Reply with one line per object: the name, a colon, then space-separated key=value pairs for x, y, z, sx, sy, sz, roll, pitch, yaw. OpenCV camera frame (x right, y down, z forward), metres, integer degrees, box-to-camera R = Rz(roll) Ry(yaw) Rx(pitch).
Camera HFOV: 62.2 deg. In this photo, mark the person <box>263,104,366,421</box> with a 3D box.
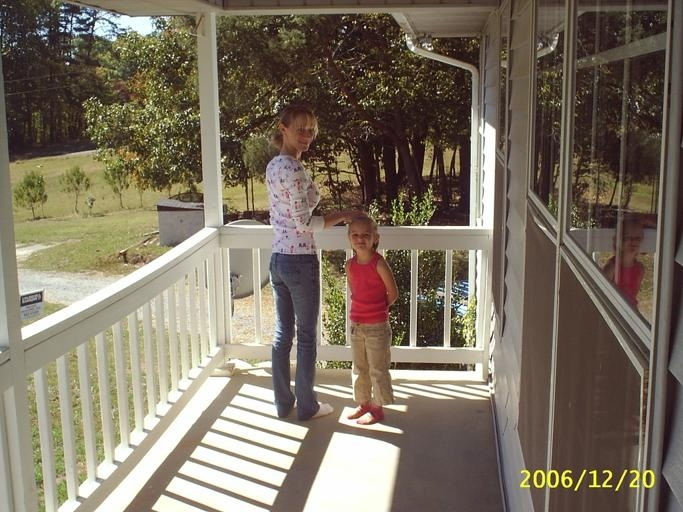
person: x=-0.229 y=0.093 z=3.325 sx=0.471 sy=1.901 sz=0.356 roll=1 pitch=14 yaw=7
